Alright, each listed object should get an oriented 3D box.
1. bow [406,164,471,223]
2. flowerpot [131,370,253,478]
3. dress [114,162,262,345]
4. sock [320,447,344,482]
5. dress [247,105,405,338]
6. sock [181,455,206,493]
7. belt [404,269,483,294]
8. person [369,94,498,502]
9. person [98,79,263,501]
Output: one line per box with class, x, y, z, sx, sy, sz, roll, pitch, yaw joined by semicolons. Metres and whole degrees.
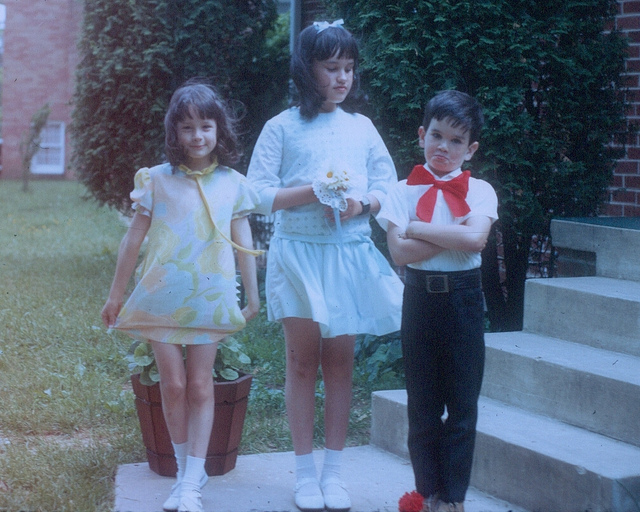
bow;0.511;-0.259;2.941;0.278;0.305;0.050;4;-27;5
flowerpot;-0.666;0.807;3.494;0.492;0.434;0.506;1;1;34
dress;-0.643;-0.011;3.090;0.574;0.809;0.220;1;8;6
sock;0.048;0.988;3.224;0.101;0.155;0.114;0;9;0
dress;0.079;-0.170;3.253;0.770;1.203;0.471;0;-5;-8
sock;-0.581;0.974;3.038;0.094;0.151;0.131;1;9;2
belt;0.518;0.095;2.917;0.274;0.126;0.184;0;14;-26
person;0.494;0.336;2.957;0.480;1.438;0.357;3;9;15
person;-0.622;0.151;3.075;0.693;1.845;0.451;-3;9;-21
